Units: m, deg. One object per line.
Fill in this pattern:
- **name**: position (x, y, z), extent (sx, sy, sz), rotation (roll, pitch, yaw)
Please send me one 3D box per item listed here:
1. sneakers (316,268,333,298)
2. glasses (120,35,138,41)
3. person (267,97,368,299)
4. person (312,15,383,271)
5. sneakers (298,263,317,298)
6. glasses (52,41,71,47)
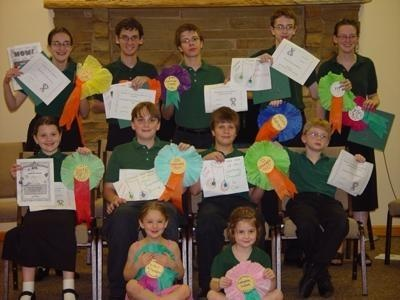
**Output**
- **sneakers**: position (0.868, 0.923, 2.983), extent (0.112, 0.206, 0.106), rotation (0, 1, 33)
- **glasses**: position (-0.603, -0.948, 3.634), extent (0.148, 0.038, 0.027), rotation (-1, 1, -7)
- **person**: position (0.824, 0.383, 3.093), extent (0.600, 1.223, 0.491), rotation (2, -25, 6)
- **person**: position (1.292, -0.080, 3.756), extent (0.692, 2.013, 0.648), rotation (-11, 11, -30)
- **sneakers**: position (0.737, 0.888, 2.922), extent (0.087, 0.263, 0.109), rotation (6, 4, -24)
- **glasses**: position (-1.151, -0.878, 3.543), extent (0.148, 0.052, 0.035), rotation (-1, 1, -19)
